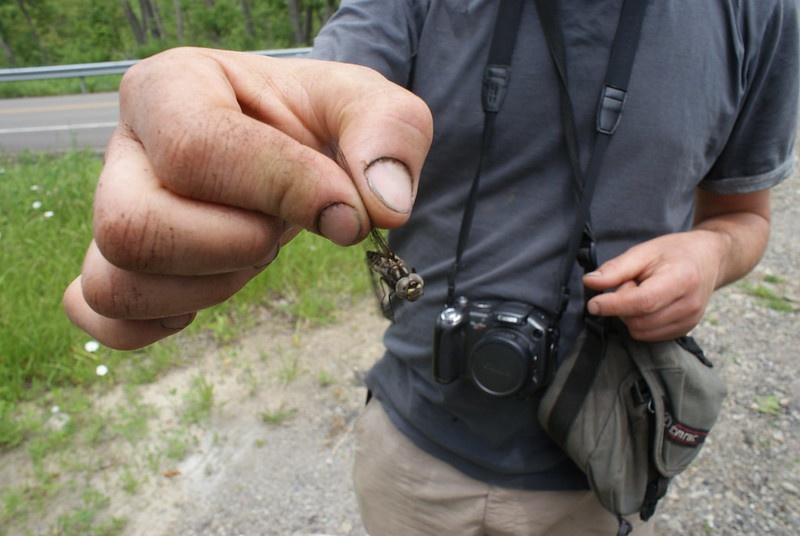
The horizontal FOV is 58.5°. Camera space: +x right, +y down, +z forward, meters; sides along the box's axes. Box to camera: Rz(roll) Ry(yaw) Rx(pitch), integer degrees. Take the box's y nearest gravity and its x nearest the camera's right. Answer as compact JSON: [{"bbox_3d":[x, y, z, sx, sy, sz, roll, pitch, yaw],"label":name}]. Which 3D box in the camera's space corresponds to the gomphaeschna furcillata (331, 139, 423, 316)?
[{"bbox_3d":[-0.087,-0.017,3.120,0.317,0.669,0.420,1,25,0],"label":"gomphaeschna furcillata"}]

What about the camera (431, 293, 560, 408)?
[{"bbox_3d":[0.440,0.362,3.382,0.508,0.412,0.318,9,25,21],"label":"camera"}]
